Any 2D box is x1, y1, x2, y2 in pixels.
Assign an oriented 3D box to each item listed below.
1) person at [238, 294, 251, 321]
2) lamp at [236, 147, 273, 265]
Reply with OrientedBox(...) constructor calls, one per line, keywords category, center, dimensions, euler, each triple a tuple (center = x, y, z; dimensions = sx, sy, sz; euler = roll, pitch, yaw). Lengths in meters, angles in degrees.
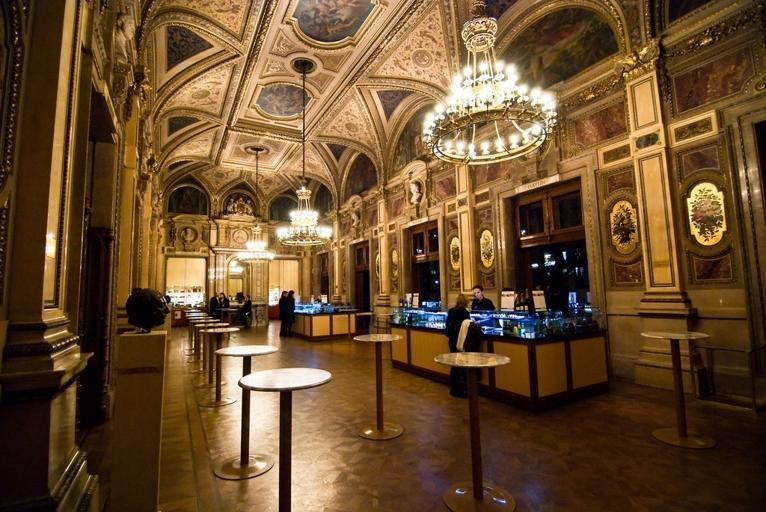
OrientedBox(category="person", center=(-4.976, 1.973, 18.740), dimensions=(0.296, 0.988, 0.965), euler=(-6, 10, -24))
OrientedBox(category="lamp", center=(-4.351, -1.728, 17.882), dimensions=(1.494, 4.046, 1.552), euler=(8, 9, 36))
